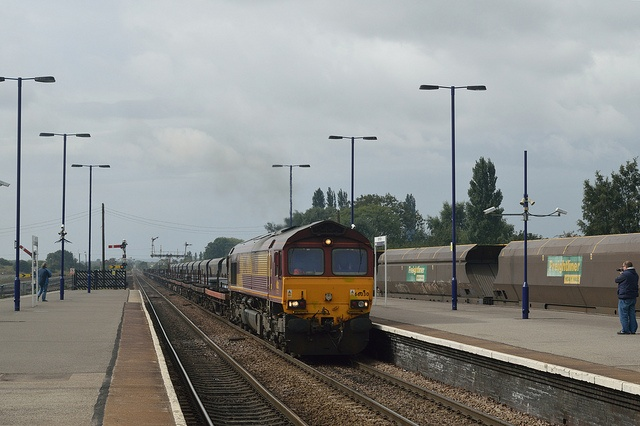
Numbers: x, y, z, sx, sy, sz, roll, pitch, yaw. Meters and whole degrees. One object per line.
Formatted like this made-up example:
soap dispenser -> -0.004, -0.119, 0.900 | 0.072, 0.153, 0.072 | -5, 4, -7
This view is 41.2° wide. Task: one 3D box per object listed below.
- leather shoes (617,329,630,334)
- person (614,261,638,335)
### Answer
leather shoes -> 9.945, 3.941, 28.126 | 0.337, 0.147, 0.130 | 6, -3, 0
person -> 10.162, 2.836, 28.375 | 0.667, 2.404, 0.865 | -2, -5, 21
